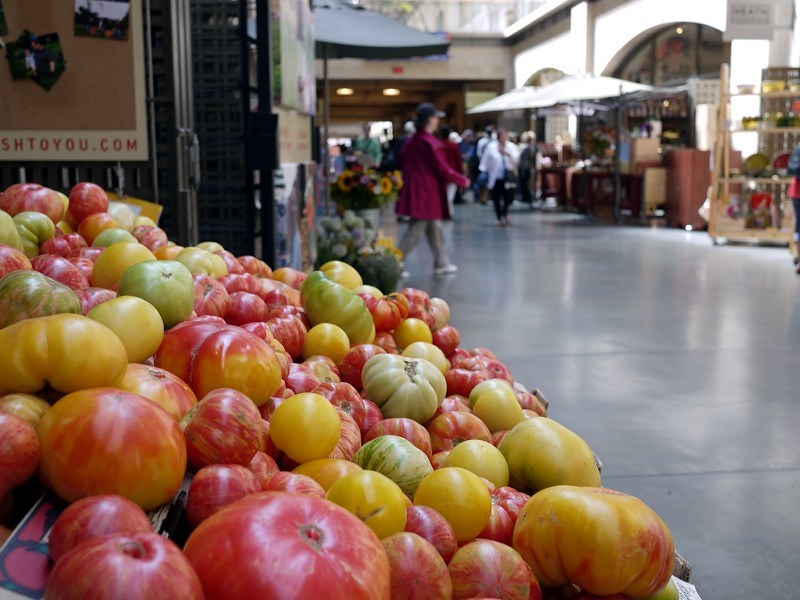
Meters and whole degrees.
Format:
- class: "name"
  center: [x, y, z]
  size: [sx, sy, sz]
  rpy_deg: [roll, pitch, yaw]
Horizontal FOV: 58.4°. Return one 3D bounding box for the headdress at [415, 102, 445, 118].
- class: "headdress"
  center: [0.327, -2.087, 8.054]
  size: [0.301, 0.197, 0.206]
  rpy_deg: [-3, 21, -26]
